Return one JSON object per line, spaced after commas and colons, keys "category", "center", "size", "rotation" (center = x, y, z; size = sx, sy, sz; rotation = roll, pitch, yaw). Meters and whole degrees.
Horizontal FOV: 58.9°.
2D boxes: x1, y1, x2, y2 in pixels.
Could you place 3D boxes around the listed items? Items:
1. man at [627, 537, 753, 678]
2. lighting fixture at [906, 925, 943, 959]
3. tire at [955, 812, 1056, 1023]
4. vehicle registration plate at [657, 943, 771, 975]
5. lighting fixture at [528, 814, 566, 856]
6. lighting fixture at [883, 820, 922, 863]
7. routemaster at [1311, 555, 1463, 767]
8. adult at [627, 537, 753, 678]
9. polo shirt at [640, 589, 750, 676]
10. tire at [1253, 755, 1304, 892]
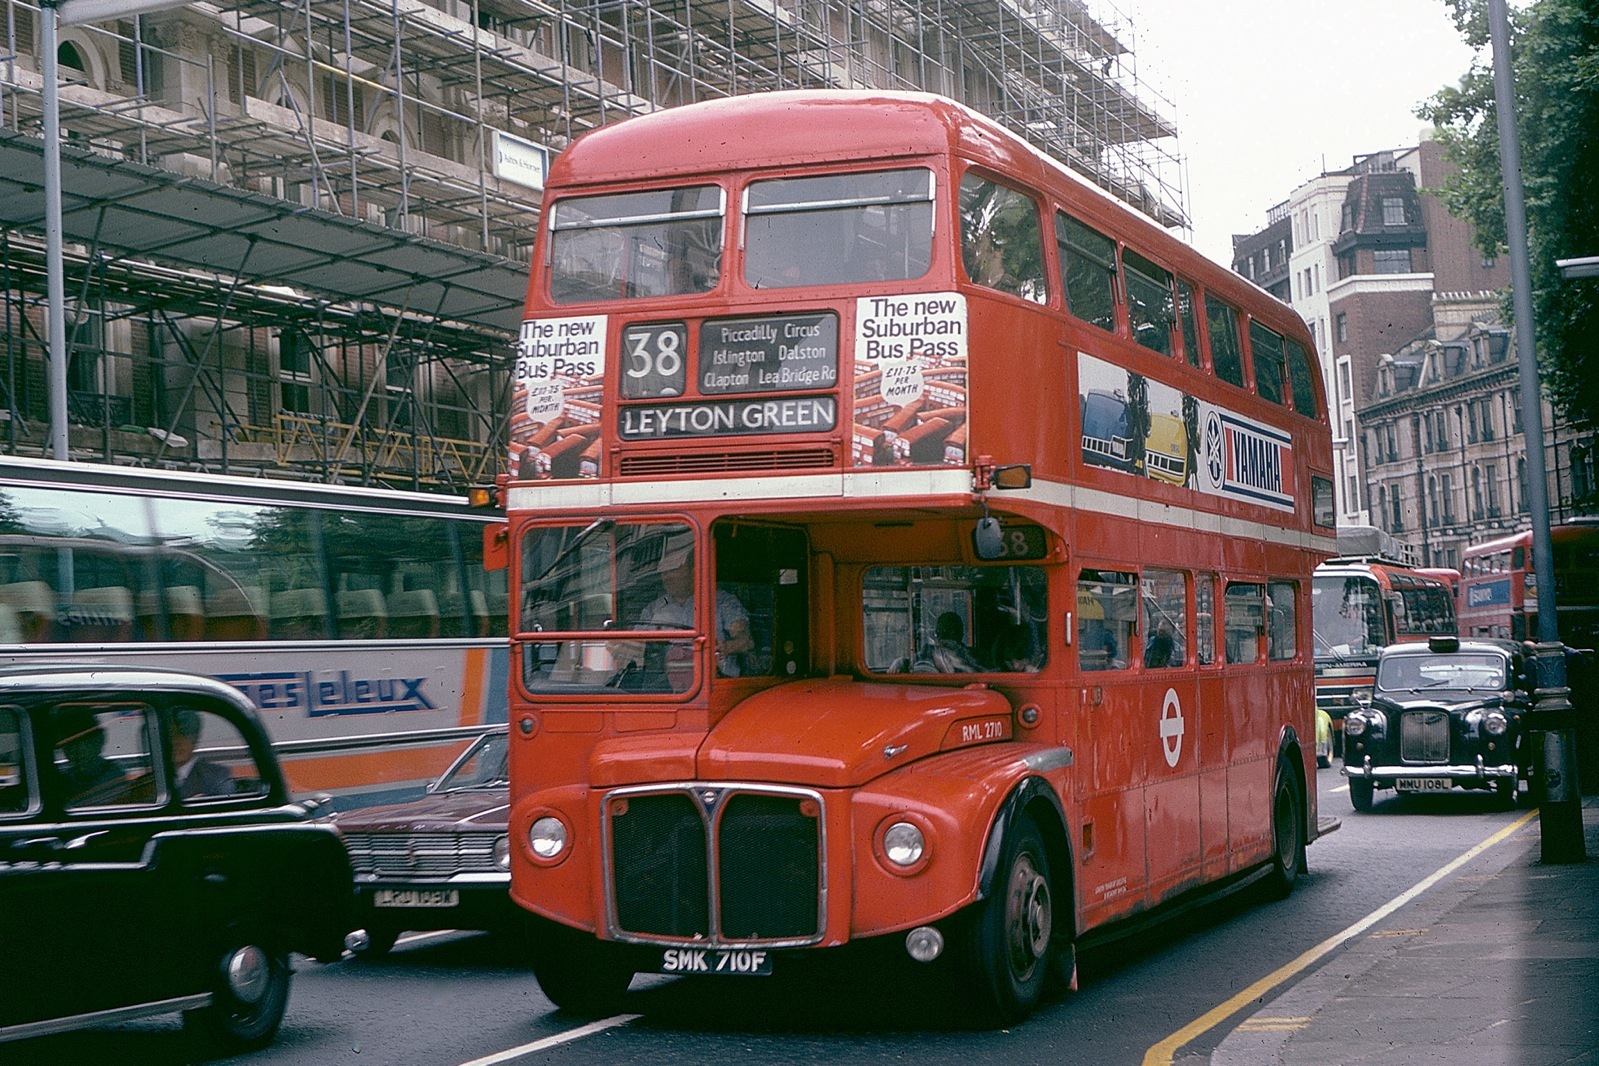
{"category": "man", "center": [-0.679, 0.489, 9.454], "size": [0.757, 0.953, 0.289], "rotation": [-2, -4, -9]}
{"category": "lighting fixture", "center": [0.760, 2.478, 8.534], "size": [0.251, 0.211, 0.195], "rotation": [-2, -4, -5]}
{"category": "tire", "center": [1.299, 2.488, 9.052], "size": [0.355, 1.314, 0.998], "rotation": [-4, -5, 28]}
{"category": "vehicle registration plate", "center": [-0.511, 2.599, 8.606], "size": [0.714, 0.148, 0.104], "rotation": [-3, -4, 9]}
{"category": "lighting fixture", "center": [-1.606, 1.961, 9.070], "size": [0.217, 0.237, 0.131], "rotation": [-4, 10, 14]}
{"category": "lighting fixture", "center": [0.623, 1.868, 8.452], "size": [0.209, 0.240, 0.132], "rotation": [-6, -7, 31]}
{"category": "routemaster", "center": [11.227, 2.471, 27.551], "size": [2.971, 4.606, 9.679], "rotation": [-3, -9, 20]}
{"category": "adult", "center": [-0.679, 0.489, 9.454], "size": [0.757, 0.953, 0.289], "rotation": [-2, -4, -9]}
{"category": "polo shirt", "center": [-0.734, 0.515, 9.598], "size": [0.759, 0.494, 0.888], "rotation": [2, -32, -1]}
{"category": "tire", "center": [4.857, 3.005, 14.434], "size": [0.409, 1.357, 1.309], "rotation": [-5, -10, 24]}
